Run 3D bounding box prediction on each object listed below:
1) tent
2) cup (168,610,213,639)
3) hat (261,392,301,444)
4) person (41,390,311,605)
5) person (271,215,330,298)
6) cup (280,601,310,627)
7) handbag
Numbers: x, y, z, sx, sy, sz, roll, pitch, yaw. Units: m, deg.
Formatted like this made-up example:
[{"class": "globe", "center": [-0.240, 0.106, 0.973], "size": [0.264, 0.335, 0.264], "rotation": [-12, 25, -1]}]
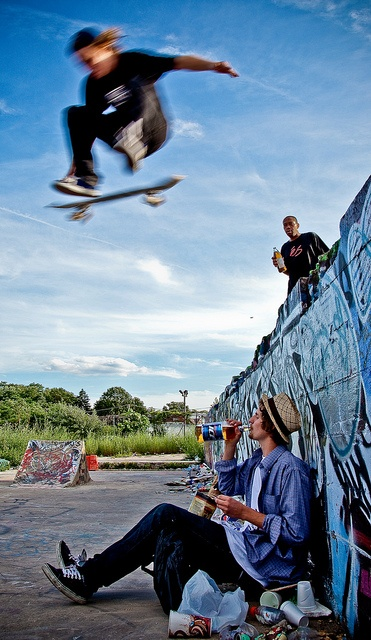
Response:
[{"class": "tent", "center": [-2.720, 2.601, 9.428], "size": [1.320, 1.098, 0.814], "rotation": [18, -52, -36]}, {"class": "cup", "center": [0.015, 1.219, 1.971], "size": [0.155, 0.119, 0.111], "rotation": [0, 4, -1]}, {"class": "hat", "center": [0.512, 0.495, 2.536], "size": [0.101, 0.250, 0.206], "rotation": [-22, -8, 13]}, {"class": "person", "center": [-0.013, 0.939, 2.519], "size": [1.232, 1.112, 0.686], "rotation": [3, -27, 6]}, {"class": "person", "center": [1.039, -0.660, 4.649], "size": [0.356, 0.776, 0.560], "rotation": [3, -16, -32]}, {"class": "cup", "center": [0.459, 1.243, 2.001], "size": [0.063, 0.080, 0.168], "rotation": [-1, -15, -19]}, {"class": "handbag", "center": [-0.087, 1.158, 2.195], "size": [0.102, 0.299, 0.223], "rotation": [6, -19, -30]}]
